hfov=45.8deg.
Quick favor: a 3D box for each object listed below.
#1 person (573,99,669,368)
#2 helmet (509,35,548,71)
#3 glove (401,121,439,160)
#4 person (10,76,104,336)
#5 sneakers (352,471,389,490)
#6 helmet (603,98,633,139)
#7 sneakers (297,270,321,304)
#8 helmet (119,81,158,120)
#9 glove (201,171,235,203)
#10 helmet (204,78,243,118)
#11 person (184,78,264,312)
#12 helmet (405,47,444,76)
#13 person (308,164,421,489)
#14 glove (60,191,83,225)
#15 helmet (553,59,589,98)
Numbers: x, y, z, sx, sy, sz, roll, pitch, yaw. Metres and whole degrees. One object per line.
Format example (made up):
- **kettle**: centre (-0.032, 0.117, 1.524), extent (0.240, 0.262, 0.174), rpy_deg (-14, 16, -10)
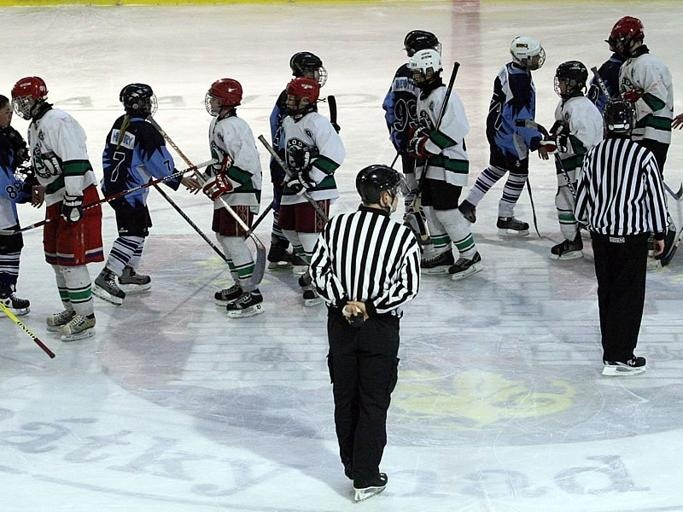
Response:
- **person**: centre (1.565, -0.089, 4.467), extent (0.468, 1.533, 0.515), rpy_deg (-4, 24, 3)
- **helmet**: centre (1.517, -1.655, 6.590), extent (0.254, 0.274, 0.231), rpy_deg (-1, 21, 7)
- **glove**: centre (0.604, -0.867, 6.067), extent (0.144, 0.293, 0.213), rpy_deg (38, 35, -1)
- **person**: centre (-1.758, -0.292, 5.073), extent (0.493, 1.651, 0.615), rpy_deg (-10, 24, -11)
- **sneakers**: centre (0.133, 0.999, 3.598), extent (0.064, 0.052, 0.167), rpy_deg (11, 14, 42)
- **helmet**: centre (1.509, -0.747, 4.412), extent (0.154, 0.217, 0.199), rpy_deg (2, 21, 15)
- **sneakers**: centre (-0.240, 0.238, 5.794), extent (0.146, 0.124, 0.360), rpy_deg (-4, 12, -4)
- **helmet**: centre (-1.411, -1.098, 5.667), extent (0.381, 0.242, 0.231), rpy_deg (-4, 31, -11)
- **glove**: centre (-0.811, -0.465, 5.364), extent (0.198, 0.168, 0.084), rpy_deg (-3, 23, 0)
- **helmet**: centre (-0.756, -1.076, 5.452), extent (0.377, 0.248, 0.246), rpy_deg (6, 18, -5)
- **person**: centre (-0.736, -0.392, 5.451), extent (0.439, 1.587, 0.668), rpy_deg (-7, 23, -4)
- **helmet**: centre (0.606, -1.420, 5.914), extent (0.283, 0.156, 0.148), rpy_deg (-7, 62, 4)
- **person**: centre (0.135, 0.341, 3.530), extent (0.471, 1.446, 0.587), rpy_deg (-6, 23, -2)
- **glove**: centre (-1.650, -0.307, 4.981), extent (0.139, 0.212, 0.169), rpy_deg (-11, 22, -15)
- **helmet**: centre (1.763, -1.358, 6.206), extent (0.221, 0.277, 0.319), rpy_deg (1, 20, 13)
